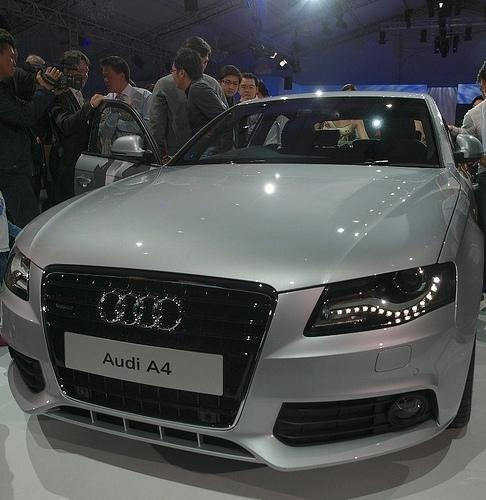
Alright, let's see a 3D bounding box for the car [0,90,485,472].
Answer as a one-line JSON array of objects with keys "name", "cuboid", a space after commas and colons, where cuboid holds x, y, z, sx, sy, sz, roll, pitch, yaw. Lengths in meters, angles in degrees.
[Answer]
[{"name": "car", "cuboid": [0.240, -0.070, 1.638, 1.264, 0.699, 1.858, 3, 9, 21]}]
